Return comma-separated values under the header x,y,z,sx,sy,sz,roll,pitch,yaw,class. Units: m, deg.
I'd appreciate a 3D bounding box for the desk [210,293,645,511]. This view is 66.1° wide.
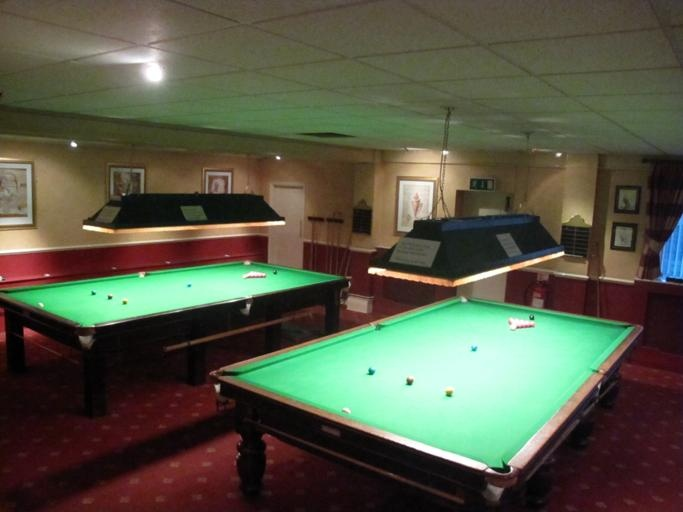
x,y,z,sx,sy,sz,roll,pitch,yaw,class
0.790,1.315,4.371,2.181,1.119,2.892,12,15,39,desk

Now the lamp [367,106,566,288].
x,y,z,sx,sy,sz,roll,pitch,yaw,class
1.136,-0.335,4.791,0.867,1.268,2.901,4,5,36,lamp

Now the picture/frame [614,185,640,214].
x,y,z,sx,sy,sz,roll,pitch,yaw,class
3.968,-0.795,7.312,0.400,0.478,0.052,5,6,44,picture/frame

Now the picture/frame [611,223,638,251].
x,y,z,sx,sy,sz,roll,pitch,yaw,class
3.960,-0.281,7.376,0.375,0.448,0.048,5,7,40,picture/frame
